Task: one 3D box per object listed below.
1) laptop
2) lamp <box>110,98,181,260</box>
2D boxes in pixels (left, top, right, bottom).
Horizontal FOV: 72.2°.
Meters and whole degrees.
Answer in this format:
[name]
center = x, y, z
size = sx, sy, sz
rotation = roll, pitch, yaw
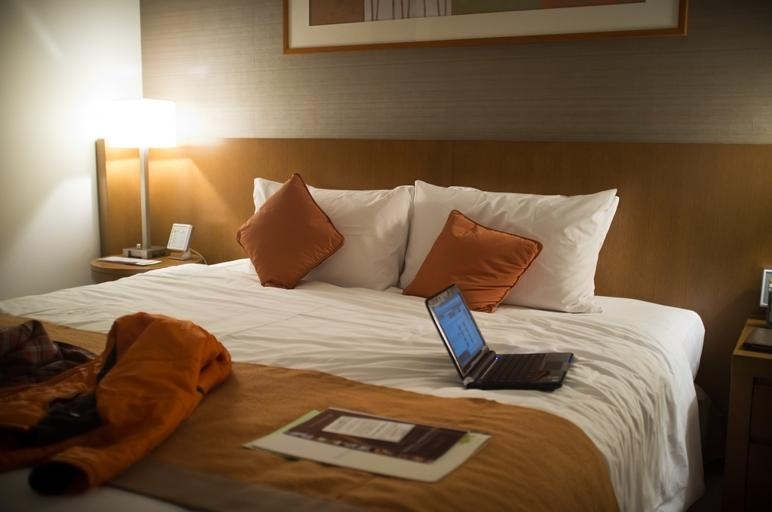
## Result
[laptop]
center = 0.419, 0.363, 1.967
size = 0.427, 0.281, 0.428
rotation = -7, 13, 22
[lamp]
center = -1.785, -0.571, 3.947
size = 0.503, 1.137, 0.354
rotation = -6, 10, -27
